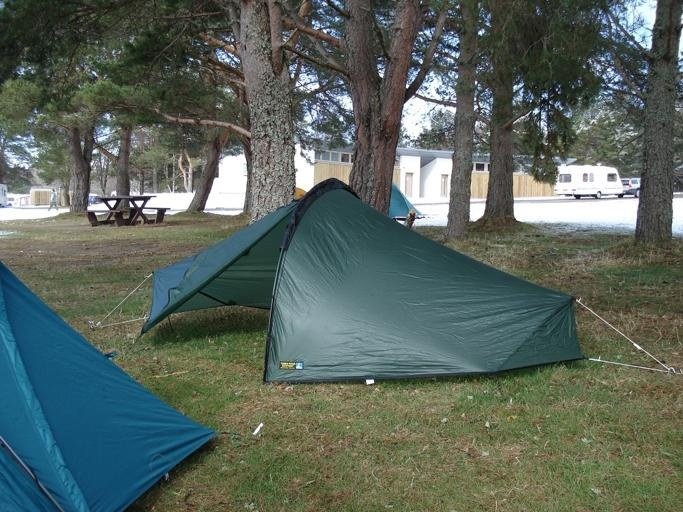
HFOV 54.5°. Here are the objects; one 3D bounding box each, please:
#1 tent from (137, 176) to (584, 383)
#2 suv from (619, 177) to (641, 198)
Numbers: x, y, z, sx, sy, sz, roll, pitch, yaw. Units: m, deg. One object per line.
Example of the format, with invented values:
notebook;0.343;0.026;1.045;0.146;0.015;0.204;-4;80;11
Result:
tent;0.113;0.365;6.498;2.893;1.076;2.619;0;1;21
suv;16.610;-3.917;38.007;0.927;1.152;1.857;2;3;21
